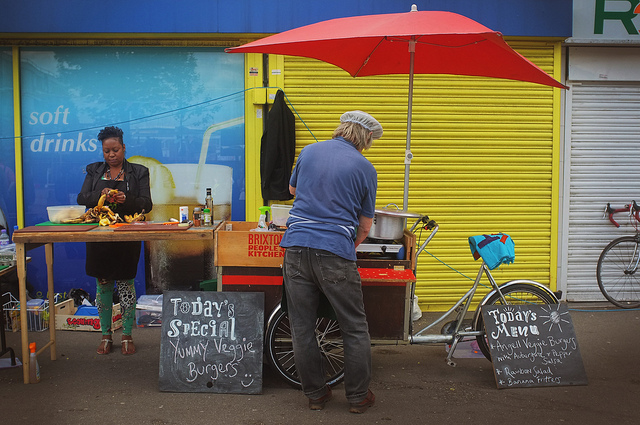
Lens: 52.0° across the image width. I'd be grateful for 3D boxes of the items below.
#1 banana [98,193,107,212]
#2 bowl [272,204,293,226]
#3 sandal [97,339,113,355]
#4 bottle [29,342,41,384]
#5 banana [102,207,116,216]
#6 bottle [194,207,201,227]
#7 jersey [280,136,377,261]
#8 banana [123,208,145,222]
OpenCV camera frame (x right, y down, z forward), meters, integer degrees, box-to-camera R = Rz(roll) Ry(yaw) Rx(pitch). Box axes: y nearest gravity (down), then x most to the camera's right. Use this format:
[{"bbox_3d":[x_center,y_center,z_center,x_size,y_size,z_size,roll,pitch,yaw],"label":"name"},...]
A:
[{"bbox_3d":[-2.817,-0.140,8.527,0.074,0.249,0.089,25,18,3],"label":"banana"},{"bbox_3d":[-0.481,0.013,8.199,0.238,0.188,0.255,1,-2,0],"label":"bowl"},{"bbox_3d":[-2.874,1.775,8.773,0.192,0.174,0.116,0,0,-25],"label":"sandal"},{"bbox_3d":[-3.536,1.845,8.141,0.127,0.484,0.239,0,0,-24],"label":"bottle"},{"bbox_3d":[-2.751,-0.026,8.528,0.102,0.038,0.133,3,-35,37],"label":"banana"},{"bbox_3d":[-1.575,0.069,8.451,0.080,0.192,0.153,0,0,-11],"label":"bottle"},{"bbox_3d":[0.110,-0.128,8.014,1.065,1.398,1.328,0,-6,-6],"label":"jersey"},{"bbox_3d":[-2.468,0.032,8.700,0.220,0.104,0.159,-3,0,42],"label":"banana"}]
